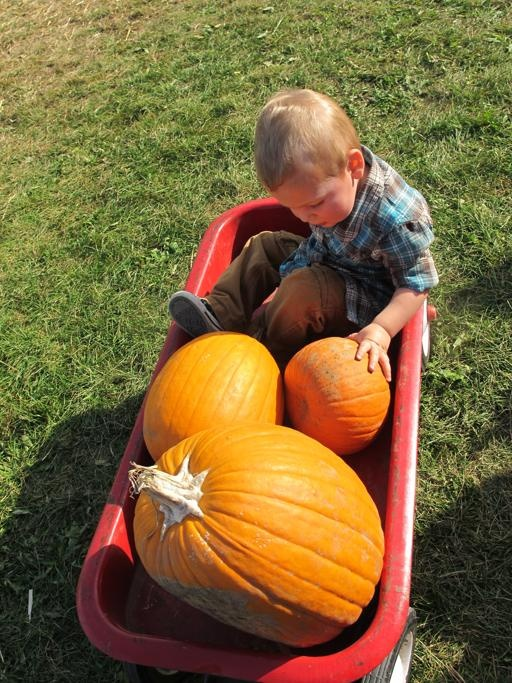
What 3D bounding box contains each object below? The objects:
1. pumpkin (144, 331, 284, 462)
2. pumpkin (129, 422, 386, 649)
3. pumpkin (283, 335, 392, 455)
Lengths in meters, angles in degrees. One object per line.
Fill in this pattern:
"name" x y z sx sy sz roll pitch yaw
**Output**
"pumpkin" -0.261 0.153 2.220 0.351 0.355 0.332 1 12 19
"pumpkin" -0.016 0.463 1.859 0.500 0.718 0.500 -60 18 -1
"pumpkin" 0.269 0.178 2.274 0.380 0.362 0.373 -3 -12 -42
